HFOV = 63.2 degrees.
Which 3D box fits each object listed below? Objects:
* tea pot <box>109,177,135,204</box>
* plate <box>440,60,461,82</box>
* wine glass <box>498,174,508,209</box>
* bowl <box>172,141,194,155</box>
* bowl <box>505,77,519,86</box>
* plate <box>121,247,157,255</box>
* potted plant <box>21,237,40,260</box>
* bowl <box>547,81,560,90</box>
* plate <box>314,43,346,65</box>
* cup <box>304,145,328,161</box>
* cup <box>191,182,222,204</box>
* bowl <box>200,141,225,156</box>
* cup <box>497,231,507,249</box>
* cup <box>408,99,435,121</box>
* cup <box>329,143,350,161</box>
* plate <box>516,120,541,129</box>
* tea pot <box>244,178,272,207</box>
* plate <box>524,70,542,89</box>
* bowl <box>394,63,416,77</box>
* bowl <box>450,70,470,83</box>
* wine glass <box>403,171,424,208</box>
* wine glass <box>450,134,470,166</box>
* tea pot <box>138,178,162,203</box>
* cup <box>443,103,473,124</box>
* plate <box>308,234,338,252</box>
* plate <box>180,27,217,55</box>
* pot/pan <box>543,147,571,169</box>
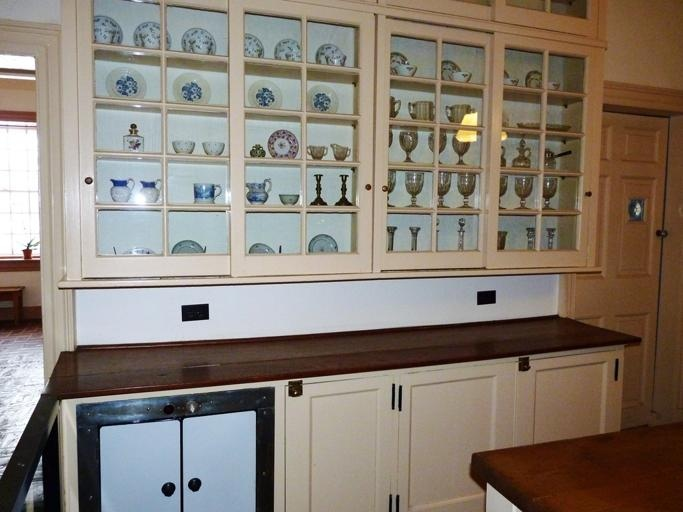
[{"bbox_3d":[-1.073,-0.320,2.708,0.109,0.123,0.092,2,0,-15],"label":"tea pot"},{"bbox_3d":[0.590,-1.019,3.045,0.101,0.107,0.024,5,3,-12],"label":"plate"},{"bbox_3d":[0.920,-0.360,3.136,0.030,0.186,0.082,2,8,35],"label":"wine glass"},{"bbox_3d":[-0.794,-0.540,2.765,0.076,0.049,0.079,0,11,0],"label":"bowl"},{"bbox_3d":[0.958,-0.974,3.112,0.059,0.045,0.026,6,11,-10],"label":"bowl"},{"bbox_3d":[-0.990,-0.022,2.705,0.156,0.038,0.038,-4,7,-15],"label":"plate"},{"bbox_3d":[-4.064,-0.084,7.261,0.226,0.261,0.254,0,4,4],"label":"potted plant"},{"bbox_3d":[1.223,-0.975,3.185,0.089,0.048,0.023,-6,7,-30],"label":"bowl"},{"bbox_3d":[-0.064,-1.050,2.971,0.138,0.145,0.103,-24,18,0],"label":"plate"},{"bbox_3d":[-0.128,-0.543,2.904,0.099,0.058,0.071,-1,-1,-9],"label":"cup"},{"bbox_3d":[-0.686,-0.316,2.796,0.122,0.094,0.094,2,-1,-19],"label":"cup"},{"bbox_3d":[-0.642,-0.538,2.787,0.082,0.054,0.084,0,1,0],"label":"bowl"},{"bbox_3d":[0.908,-0.097,3.145,0.077,0.112,0.098,5,8,22],"label":"cup"},{"bbox_3d":[0.430,-0.792,3.016,0.139,0.104,0.091,0,5,-1],"label":"cup"},{"bbox_3d":[-0.005,-0.549,2.941,0.104,0.085,0.068,2,3,-12],"label":"cup"},{"bbox_3d":[1.069,-0.743,3.161,0.144,0.044,0.025,-4,7,-16],"label":"plate"},{"bbox_3d":[-0.427,-0.329,2.841,0.137,0.131,0.100,0,2,-22],"label":"tea pot"},{"bbox_3d":[1.092,-1.003,3.149,0.100,0.099,0.024,-4,7,-18],"label":"plate"},{"bbox_3d":[0.344,-0.986,2.961,0.089,0.025,0.079,-11,53,-18],"label":"bowl"},{"bbox_3d":[0.659,-0.982,3.054,0.081,0.059,0.070,4,2,-8],"label":"bowl"},{"bbox_3d":[0.402,-0.352,3.016,0.145,0.258,0.158,2,10,13],"label":"wine glass"},{"bbox_3d":[0.660,-0.596,3.087,0.123,0.197,0.129,0,2,0],"label":"wine glass"},{"bbox_3d":[-0.940,-0.323,2.731,0.110,0.118,0.087,1,-1,1],"label":"tea pot"},{"bbox_3d":[0.648,-0.782,3.073,0.135,0.097,0.088,1,6,28],"label":"cup"},{"bbox_3d":[-0.100,-0.064,2.935,0.106,0.113,0.026,4,0,-18],"label":"plate"},{"bbox_3d":[-0.703,-1.056,2.746,0.140,0.149,0.056,3,8,-14],"label":"plate"},{"bbox_3d":[1.235,-0.562,3.231,0.163,0.148,0.094,8,5,-1],"label":"pot/pan"}]
